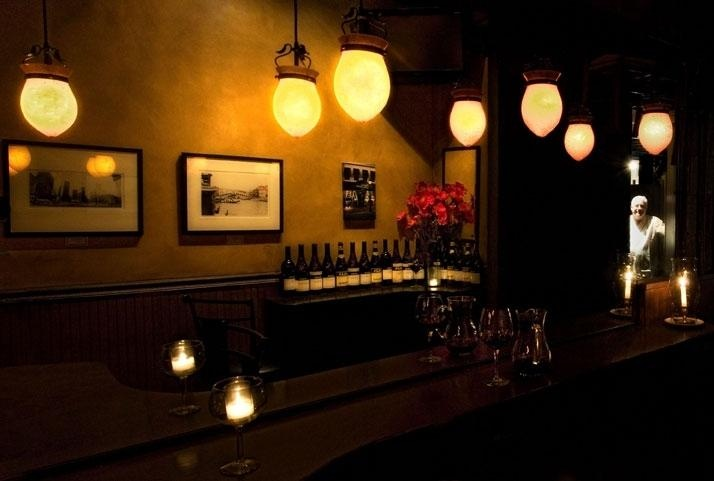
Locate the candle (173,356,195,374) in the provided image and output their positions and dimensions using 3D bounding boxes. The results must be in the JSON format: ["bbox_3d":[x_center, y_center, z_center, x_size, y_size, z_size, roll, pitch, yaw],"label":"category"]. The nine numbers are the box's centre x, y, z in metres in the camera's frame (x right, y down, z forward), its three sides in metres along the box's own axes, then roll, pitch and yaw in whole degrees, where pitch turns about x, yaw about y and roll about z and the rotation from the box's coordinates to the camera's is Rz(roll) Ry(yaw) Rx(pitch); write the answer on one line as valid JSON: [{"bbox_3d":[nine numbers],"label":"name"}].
[{"bbox_3d":[-0.909,0.643,2.949,0.091,0.056,0.090,2,-3,-22],"label":"candle"}]

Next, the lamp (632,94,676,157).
[{"bbox_3d":[2.605,-0.969,4.910,0.285,0.464,0.287,3,14,30],"label":"lamp"}]

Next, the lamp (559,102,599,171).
[{"bbox_3d":[1.898,-0.908,4.760,0.337,0.439,0.339,-3,12,-4],"label":"lamp"}]

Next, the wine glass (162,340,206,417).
[{"bbox_3d":[-0.927,0.713,2.992,0.202,0.371,0.209,-1,-2,-30],"label":"wine glass"}]

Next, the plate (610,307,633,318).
[{"bbox_3d":[1.924,0.510,4.083,0.143,0.059,0.185,-3,-2,26],"label":"plate"}]

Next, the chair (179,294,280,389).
[{"bbox_3d":[-0.998,0.729,4.439,0.652,0.910,0.720,0,3,0],"label":"chair"}]

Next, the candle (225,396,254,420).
[{"bbox_3d":[-0.552,0.792,2.659,0.109,0.067,0.112,0,2,17],"label":"candle"}]

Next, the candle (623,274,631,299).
[{"bbox_3d":[1.965,0.323,4.062,0.056,0.152,0.036,-3,-2,25],"label":"candle"}]

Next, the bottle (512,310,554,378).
[{"bbox_3d":[1.014,0.590,3.246,0.234,0.365,0.310,-3,4,12],"label":"bottle"}]

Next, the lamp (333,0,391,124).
[{"bbox_3d":[0.037,-1.157,3.539,0.328,0.843,0.594,-2,-2,3],"label":"lamp"}]

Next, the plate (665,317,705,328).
[{"bbox_3d":[2.295,0.555,3.942,0.259,0.066,0.236,-2,-2,7],"label":"plate"}]

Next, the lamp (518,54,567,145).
[{"bbox_3d":[1.409,-1.092,4.262,0.373,0.528,0.372,-5,6,-15],"label":"lamp"}]

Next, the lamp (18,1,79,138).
[{"bbox_3d":[-2.142,-1.241,3.939,0.373,1.079,0.654,-1,-2,-29],"label":"lamp"}]

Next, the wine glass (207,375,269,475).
[{"bbox_3d":[-0.558,0.869,2.670,0.207,0.435,0.171,-3,-2,31],"label":"wine glass"}]
